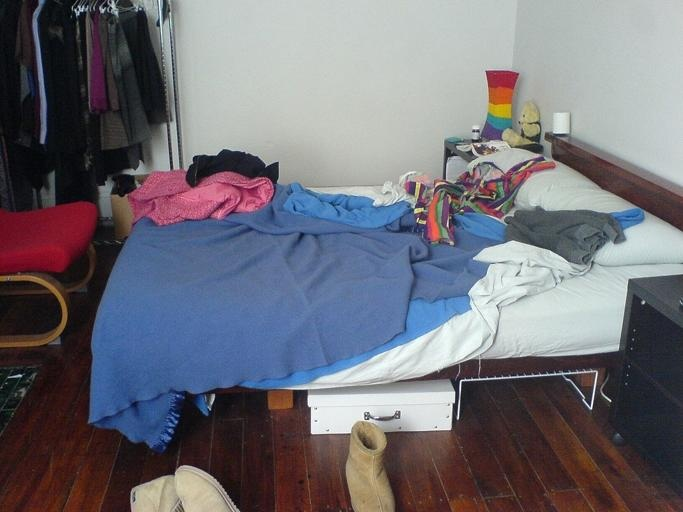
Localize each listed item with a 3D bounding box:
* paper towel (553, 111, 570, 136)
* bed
[{"bbox_3d":[1.467,-0.882,3.447,0.128,0.168,0.138,-1,14,1],"label":"paper towel"},{"bbox_3d":[0.045,0.194,2.318,1.741,0.600,1.591,3,44,0],"label":"bed"}]
